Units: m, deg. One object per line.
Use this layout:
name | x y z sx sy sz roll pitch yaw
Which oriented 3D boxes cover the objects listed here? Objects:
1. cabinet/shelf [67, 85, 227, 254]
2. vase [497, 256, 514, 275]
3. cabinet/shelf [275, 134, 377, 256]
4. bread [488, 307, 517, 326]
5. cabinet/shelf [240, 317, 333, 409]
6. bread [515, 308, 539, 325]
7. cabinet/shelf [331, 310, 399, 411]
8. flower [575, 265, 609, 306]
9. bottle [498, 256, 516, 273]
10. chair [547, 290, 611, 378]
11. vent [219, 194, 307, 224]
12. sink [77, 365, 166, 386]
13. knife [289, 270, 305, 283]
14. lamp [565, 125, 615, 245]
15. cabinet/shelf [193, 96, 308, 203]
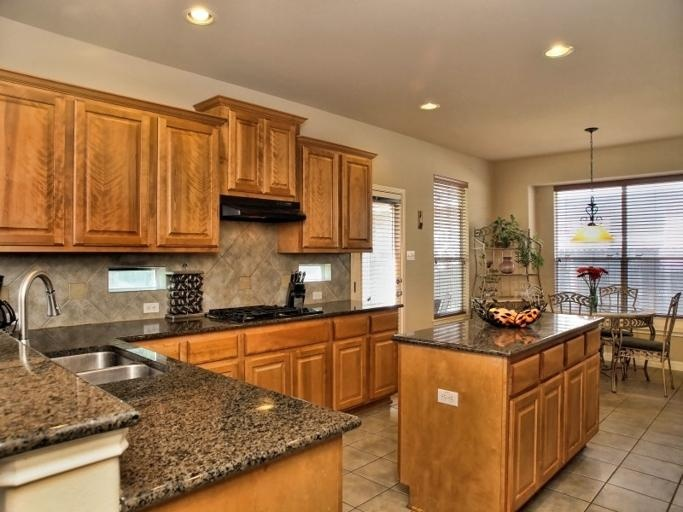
cabinet/shelf | -1.394 -0.587 3.517 0.471 1.180 1.275 -5 -7 42
vase | 2.253 0.118 6.841 0.173 0.250 0.254 -1 0 15
cabinet/shelf | -0.141 -0.528 4.885 0.387 1.073 1.106 1 2 40
bread | 1.095 0.400 3.390 0.122 0.091 0.149 0 -6 3
cabinet/shelf | -0.508 0.911 4.152 0.834 0.758 0.450 -4 6 -35
bread | 1.259 0.406 3.395 0.139 0.104 0.044 -10 -36 4
cabinet/shelf | 0.096 0.969 4.739 0.462 0.935 0.989 3 3 44
flower | 2.964 0.389 5.900 0.379 0.515 0.369 -7 -4 37
bottle | 2.244 0.108 6.869 0.230 0.237 0.222 -3 -4 30
chair | 2.904 0.837 6.048 0.588 0.972 0.619 4 -20 -2
vent | -0.654 -0.398 4.189 0.317 0.181 0.753 -1 0 38
sink | -1.033 0.566 2.381 0.226 0.097 0.276 4 -6 -36
knife | -0.401 0.185 4.625 0.107 0.137 0.121 -2 -5 23
lamp | 3.082 -0.816 6.183 0.489 1.284 1.780 0 0 28
cabinet/shelf | -0.748 -0.851 4.254 0.869 0.752 0.342 1 0 -42
